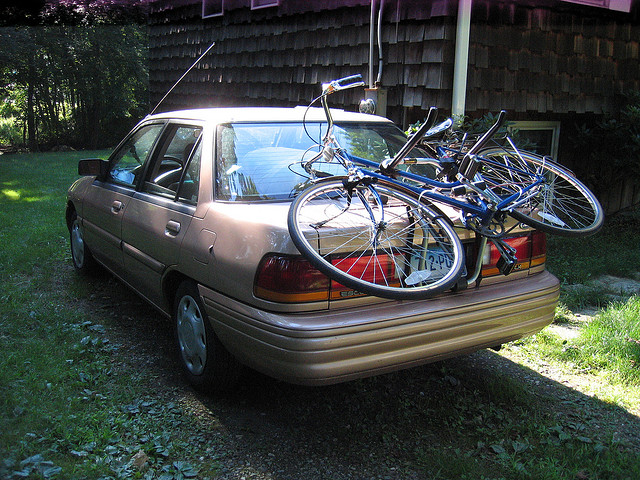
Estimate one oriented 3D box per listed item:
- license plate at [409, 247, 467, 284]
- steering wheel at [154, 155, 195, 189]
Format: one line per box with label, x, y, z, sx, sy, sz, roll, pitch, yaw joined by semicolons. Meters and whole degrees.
license plate;0.672;0.135;2.674;0.275;0.227;0.110;-5;11;-18
steering wheel;-1.158;-0.530;3.495;0.177;0.239;0.643;-10;19;-33
